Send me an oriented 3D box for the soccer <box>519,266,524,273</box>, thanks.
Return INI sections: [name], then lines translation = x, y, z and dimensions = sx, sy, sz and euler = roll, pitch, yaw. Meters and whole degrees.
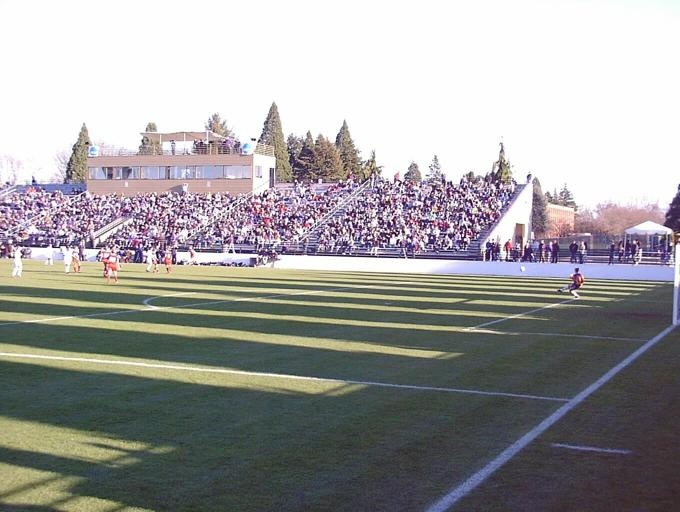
[soccer]
translation = 11.922, 0.902, 45.587
dimensions = 0.297, 0.438, 0.099
euler = 0, 2, -23
